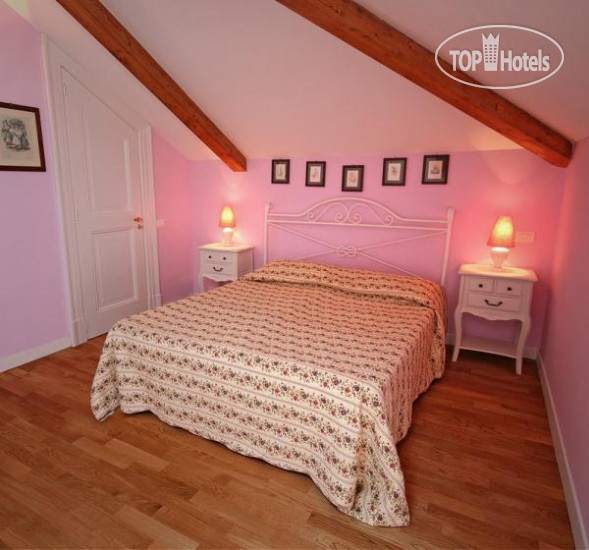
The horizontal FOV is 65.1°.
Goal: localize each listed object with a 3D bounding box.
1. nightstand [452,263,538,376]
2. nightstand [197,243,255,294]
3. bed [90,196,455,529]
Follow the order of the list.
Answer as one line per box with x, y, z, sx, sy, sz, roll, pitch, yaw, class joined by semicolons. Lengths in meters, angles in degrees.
1.557;0.311;3.626;0.561;0.767;0.455;9;16;23;nightstand
-0.701;-0.015;4.763;0.504;0.533;0.366;9;13;28;nightstand
0.070;0.501;3.156;1.935;0.794;1.943;8;14;24;bed
